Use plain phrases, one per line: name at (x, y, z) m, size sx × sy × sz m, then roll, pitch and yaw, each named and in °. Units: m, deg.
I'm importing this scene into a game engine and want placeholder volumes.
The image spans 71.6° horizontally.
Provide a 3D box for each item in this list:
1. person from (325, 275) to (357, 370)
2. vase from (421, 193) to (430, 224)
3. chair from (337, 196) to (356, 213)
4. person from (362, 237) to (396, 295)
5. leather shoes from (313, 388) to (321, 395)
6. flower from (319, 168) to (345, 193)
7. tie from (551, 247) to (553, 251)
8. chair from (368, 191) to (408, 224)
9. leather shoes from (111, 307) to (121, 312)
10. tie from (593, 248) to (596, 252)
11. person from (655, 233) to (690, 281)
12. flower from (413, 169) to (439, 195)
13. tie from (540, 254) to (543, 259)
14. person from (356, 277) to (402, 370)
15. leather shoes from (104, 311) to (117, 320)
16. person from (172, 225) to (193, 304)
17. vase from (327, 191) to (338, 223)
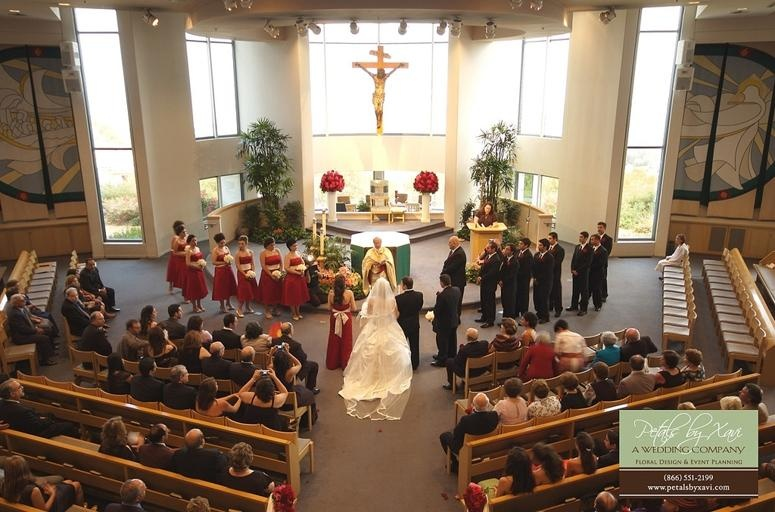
person at (-0.927, 1.233, 10.061) m, size 0.591 × 1.834 × 0.607 m, roll -3°, pitch 12°, yaw -6°
vase at (1.279, -1.687, 18.206) m, size 0.324 × 0.984 × 0.466 m, roll -1°, pitch 12°, yaw 1°
chair at (-1.491, -1.864, 19.012) m, size 0.605 × 0.706 × 0.509 m, roll 5°, pitch 24°, yaw 8°
person at (-0.215, 0.320, 11.969) m, size 0.759 × 1.416 × 0.436 m, roll -3°, pitch 28°, yaw -3°
leather shoes at (-1.256, 2.369, 9.546) m, size 0.076 × 0.125 × 0.199 m, roll 1°, pitch 12°, yaw 10°
flower at (-1.874, -2.523, 17.618) m, size 0.680 × 0.738 × 0.732 m, roll 0°, pitch 17°, yaw -3°
tie at (3.603, -0.184, 11.846) m, size 0.072 × 0.069 × 0.017 m, roll 0°, pitch 8°, yaw 10°
chair at (-0.100, -1.643, 18.396) m, size 1.102 × 0.836 × 1.111 m, roll -1°, pitch 23°, yaw -3°
leather shoes at (-6.350, 1.224, 12.528) m, size 0.069 × 0.141 × 0.210 m, roll 14°, pitch 20°, yaw 37°
tie at (4.700, -0.154, 12.239) m, size 0.089 × 0.021 × 0.090 m, roll 1°, pitch 33°, yaw 12°
person at (7.611, 0.025, 14.422) m, size 0.885 × 1.468 × 0.664 m, roll 8°, pitch 31°, yaw 23°
flower at (1.204, -2.446, 17.885) m, size 0.748 × 0.779 × 0.764 m, roll -5°, pitch 22°, yaw -12°
tie at (3.360, -0.005, 11.762) m, size 0.060 × 0.086 × 0.023 m, roll -7°, pitch -29°, yaw 44°
person at (-0.163, 1.260, 9.808) m, size 1.267 × 1.689 × 1.012 m, roll 1°, pitch 27°, yaw 5°
leather shoes at (-6.327, 1.339, 12.213) m, size 0.275 × 0.193 × 0.092 m, roll -20°, pitch 54°, yaw -45°
person at (-4.941, 0.074, 12.784) m, size 0.701 × 1.751 × 0.597 m, roll -2°, pitch 31°, yaw -26°
vase at (-1.924, -1.746, 18.385) m, size 0.300 × 1.037 × 0.780 m, roll -3°, pitch 12°, yaw -6°
